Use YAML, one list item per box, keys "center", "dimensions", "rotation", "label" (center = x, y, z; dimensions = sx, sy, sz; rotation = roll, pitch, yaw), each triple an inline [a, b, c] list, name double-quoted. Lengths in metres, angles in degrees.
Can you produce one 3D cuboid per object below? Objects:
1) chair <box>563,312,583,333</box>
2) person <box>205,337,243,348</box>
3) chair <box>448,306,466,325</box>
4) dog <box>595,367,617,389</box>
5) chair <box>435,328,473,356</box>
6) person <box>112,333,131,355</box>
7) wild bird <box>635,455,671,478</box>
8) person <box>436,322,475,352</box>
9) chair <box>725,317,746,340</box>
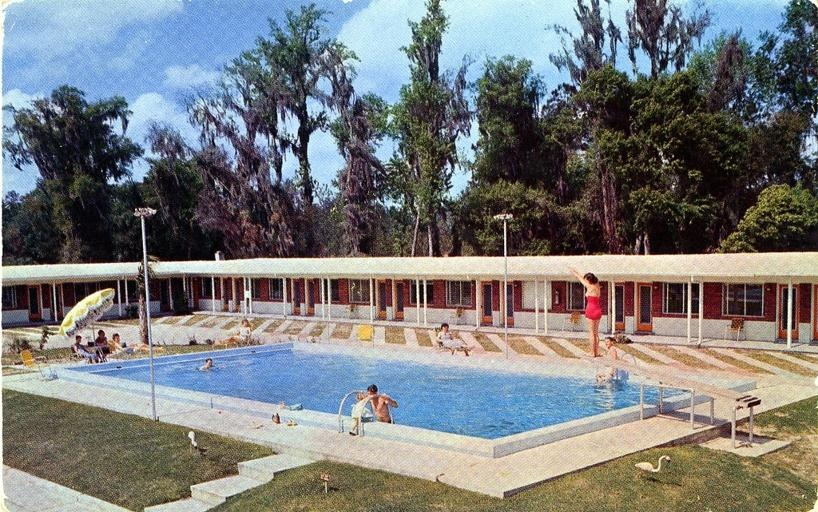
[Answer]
- center: [10.141, 3.942, 41.700]
  dimensions: [1.011, 1.615, 1.106]
  rotation: [1, 1, 34]
  label: "chair"
- center: [-10.923, 4.927, 40.061]
  dimensions: [1.391, 0.642, 2.533]
  rotation: [-4, -1, -43]
  label: "person"
- center: [3.326, 3.851, 44.891]
  dimensions: [0.899, 1.763, 1.082]
  rotation: [-1, -2, 26]
  label: "chair"
- center: [9.062, 5.579, 31.680]
  dimensions: [0.691, 0.988, 0.871]
  rotation: [-5, 16, 21]
  label: "dog"
- center: [2.360, 4.396, 37.031]
  dimensions: [1.026, 1.340, 2.381]
  rotation: [-5, 10, -31]
  label: "chair"
- center: [-15.765, 4.830, 37.623]
  dimensions: [1.396, 0.693, 1.107]
  rotation: [15, 10, 38]
  label: "person"
- center: [9.092, 7.687, 25.547]
  dimensions: [1.449, 0.638, 0.807]
  rotation: [-4, 0, -24]
  label: "wild bird"
- center: [2.433, 4.330, 37.202]
  dimensions: [2.096, 1.062, 0.930]
  rotation: [15, 9, -8]
  label: "person"
- center: [18.069, 3.970, 38.102]
  dimensions: [0.943, 1.506, 1.007]
  rotation: [-1, 0, 38]
  label: "chair"
